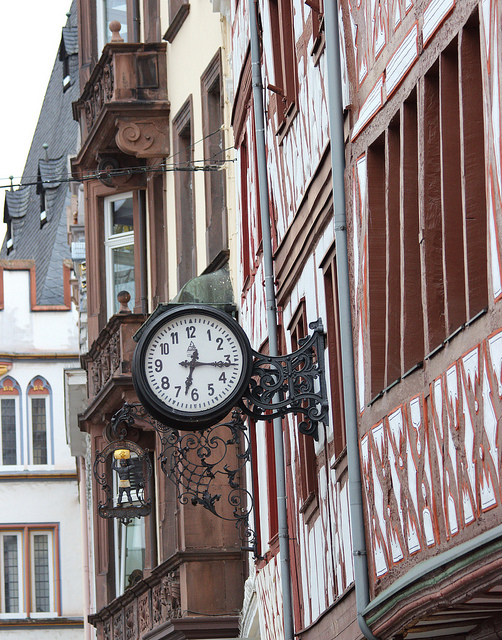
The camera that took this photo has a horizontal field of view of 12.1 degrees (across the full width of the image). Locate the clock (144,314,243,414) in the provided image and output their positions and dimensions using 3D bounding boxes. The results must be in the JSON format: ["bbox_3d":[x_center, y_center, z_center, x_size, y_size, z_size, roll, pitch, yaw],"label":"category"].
[{"bbox_3d":[-0.416,0.322,16.433,0.447,0.668,0.079,2,-22,-1],"label":"clock"}]

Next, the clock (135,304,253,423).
[{"bbox_3d":[-0.401,0.314,16.577,0.677,1.018,0.127,-2,-18,-6],"label":"clock"}]

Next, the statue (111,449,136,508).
[{"bbox_3d":[-1.302,1.624,24.234,0.192,0.679,0.155,-6,-38,1],"label":"statue"}]
